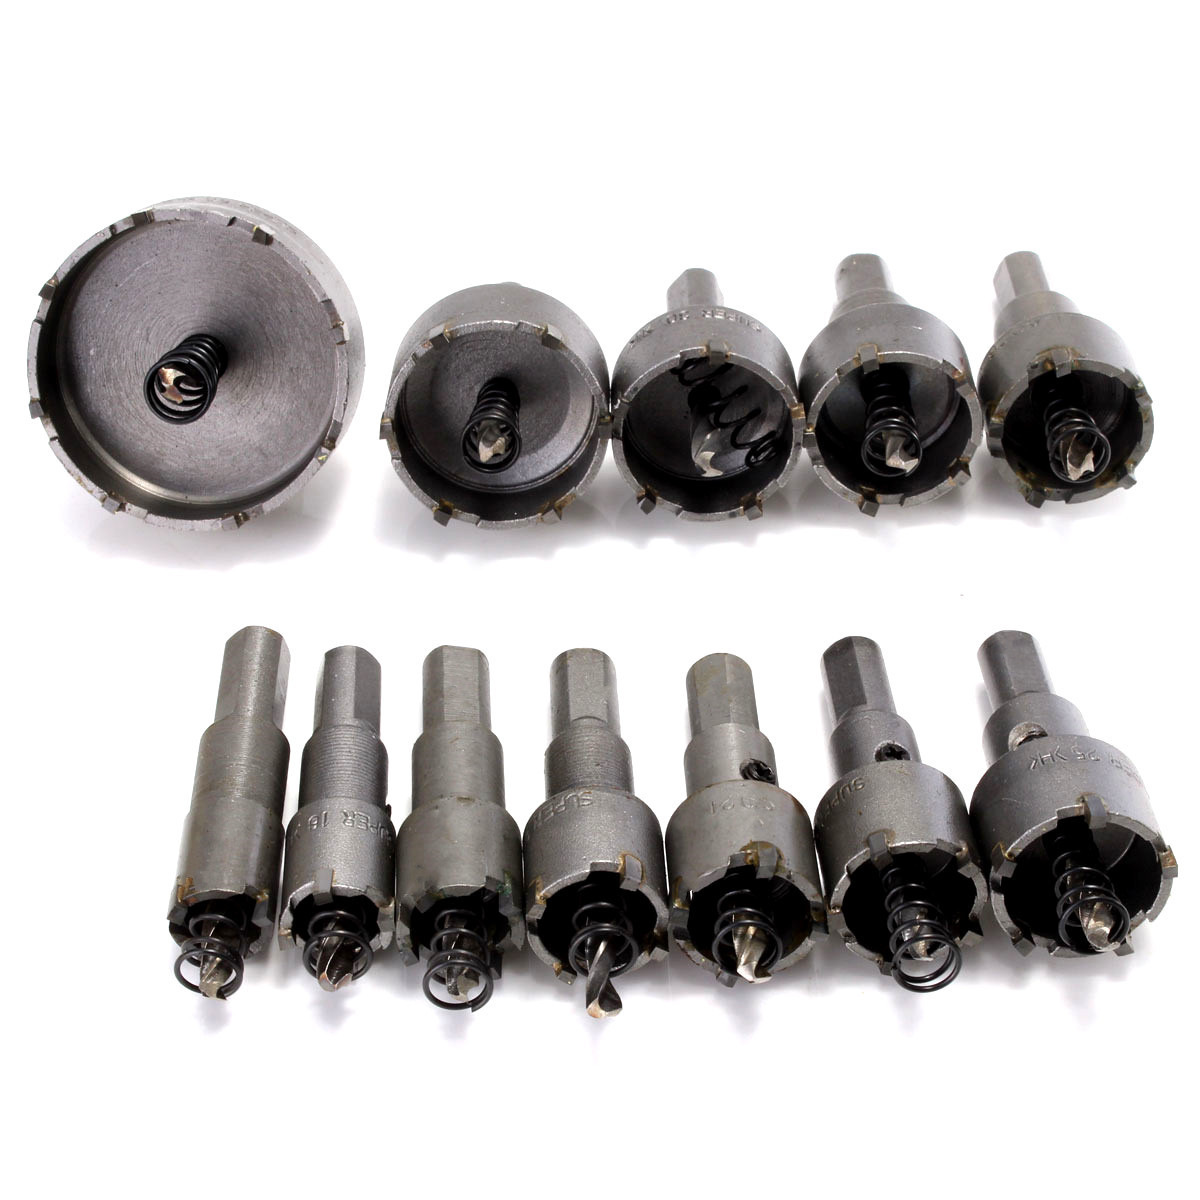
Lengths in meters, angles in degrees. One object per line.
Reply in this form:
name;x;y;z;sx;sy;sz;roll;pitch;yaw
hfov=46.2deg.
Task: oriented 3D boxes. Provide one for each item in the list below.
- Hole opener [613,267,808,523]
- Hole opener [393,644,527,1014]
Hole opener;0.282;-0.550;3.806;0.501;0.422;0.551;0;-38;-1
Hole opener;-0.302;0.451;3.150;0.279;0.941;0.345;3;-35;-5
